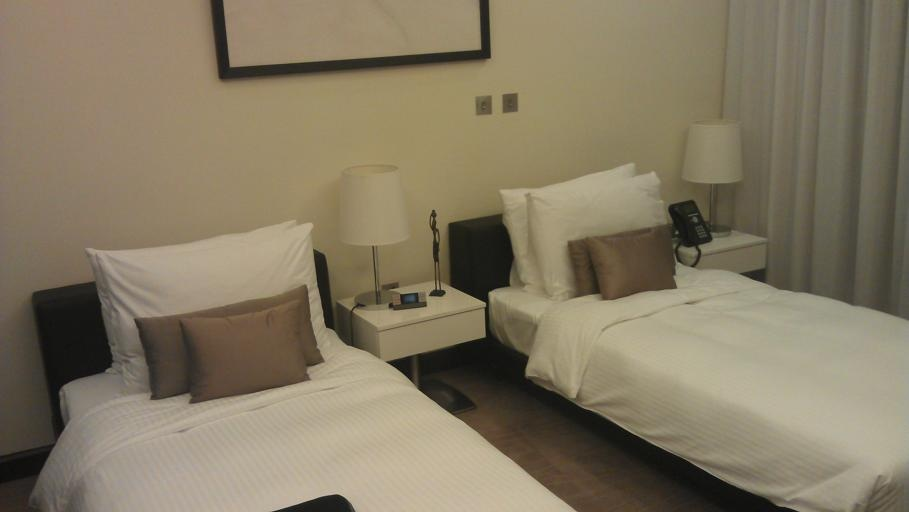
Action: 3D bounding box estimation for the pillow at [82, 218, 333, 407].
[{"bbox_3d":[-1.471,0.368,3.872,0.989,0.668,0.372,-11,0,-24],"label":"pillow"}]

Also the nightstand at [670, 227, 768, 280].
[{"bbox_3d":[2.062,-0.007,5.080,0.575,0.407,0.321,-12,24,-25],"label":"nightstand"}]
